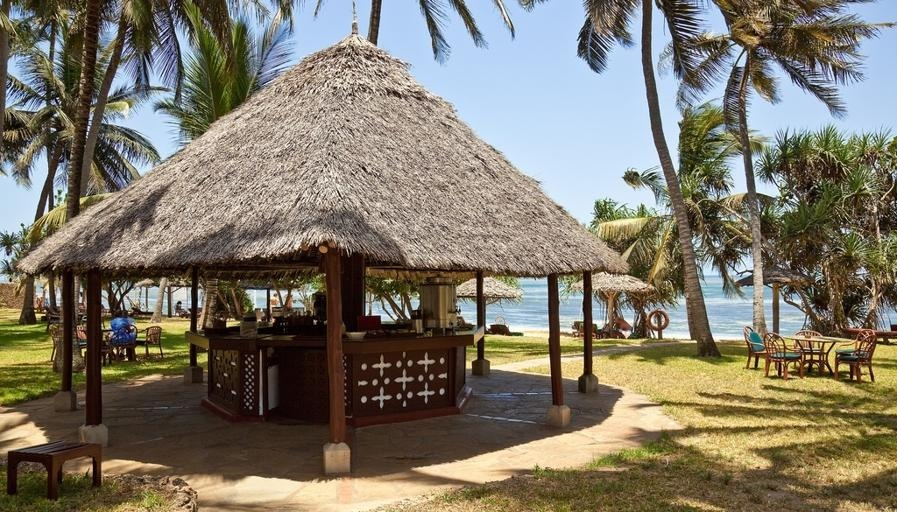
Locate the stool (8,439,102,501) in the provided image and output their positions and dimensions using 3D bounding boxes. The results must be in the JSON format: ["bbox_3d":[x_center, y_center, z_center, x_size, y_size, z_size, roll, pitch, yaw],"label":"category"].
[{"bbox_3d":[-8.673,4.701,15.426,1.412,0.984,1.509,1,-1,21],"label":"stool"}]

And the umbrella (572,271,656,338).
[{"bbox_3d":[9.029,2.629,37.014,4.912,3.400,4.794,1,-7,-7],"label":"umbrella"}]
